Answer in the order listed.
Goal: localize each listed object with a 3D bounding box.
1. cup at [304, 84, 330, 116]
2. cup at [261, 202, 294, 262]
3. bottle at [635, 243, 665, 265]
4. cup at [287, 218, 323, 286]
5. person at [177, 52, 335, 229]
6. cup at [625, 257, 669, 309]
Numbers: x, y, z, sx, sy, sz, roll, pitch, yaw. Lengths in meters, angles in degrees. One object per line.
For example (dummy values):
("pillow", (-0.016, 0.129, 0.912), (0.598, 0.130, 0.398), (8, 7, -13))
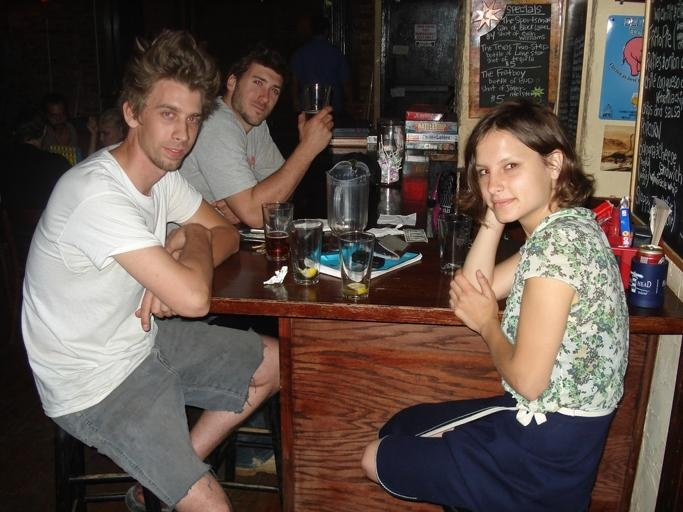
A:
("cup", (-0.128, -0.757, 2.581), (0.160, 0.164, 0.155), (2, -22, 1))
("cup", (-0.241, -0.088, 1.921), (0.167, 0.202, 0.173), (2, 16, -1))
("bottle", (0.944, -0.006, 1.536), (0.055, 0.053, 0.058), (0, 9, 18))
("cup", (-0.112, -0.007, 1.699), (0.111, 0.201, 0.092), (-6, 12, -24))
("person", (-0.429, -0.585, 2.591), (0.785, 0.852, 0.601), (22, 25, 27))
("cup", (0.952, 0.079, 1.568), (0.087, 0.146, 0.091), (-4, 15, 1))
